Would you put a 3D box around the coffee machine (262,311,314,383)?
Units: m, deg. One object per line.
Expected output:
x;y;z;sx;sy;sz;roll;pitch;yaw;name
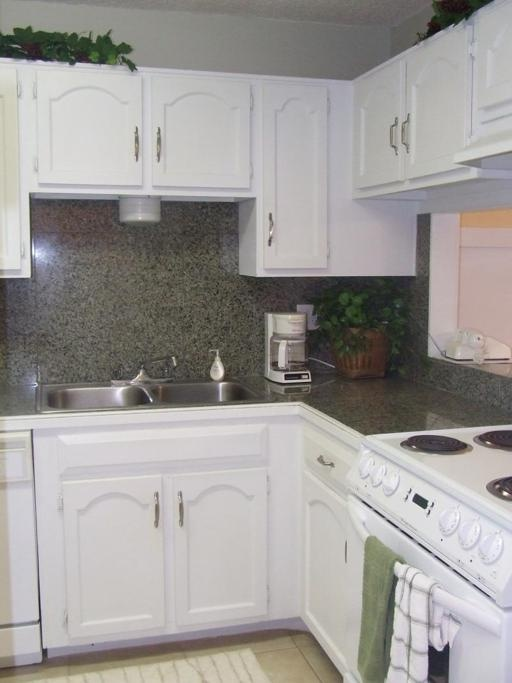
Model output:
0.128;0.022;2.610;0.199;0.292;0.296;-3;5;1;coffee machine

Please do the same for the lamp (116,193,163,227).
-0.473;-0.520;2.400;0.118;0.068;0.117;4;8;32;lamp

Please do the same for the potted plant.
0.471;-0.059;2.704;0.403;0.440;0.220;-4;5;-10;potted plant

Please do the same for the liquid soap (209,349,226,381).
-0.170;0.102;2.654;0.064;0.132;0.131;-4;5;-3;liquid soap

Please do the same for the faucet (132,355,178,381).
-0.430;0.117;2.591;0.193;0.105;0.139;-4;5;-8;faucet
